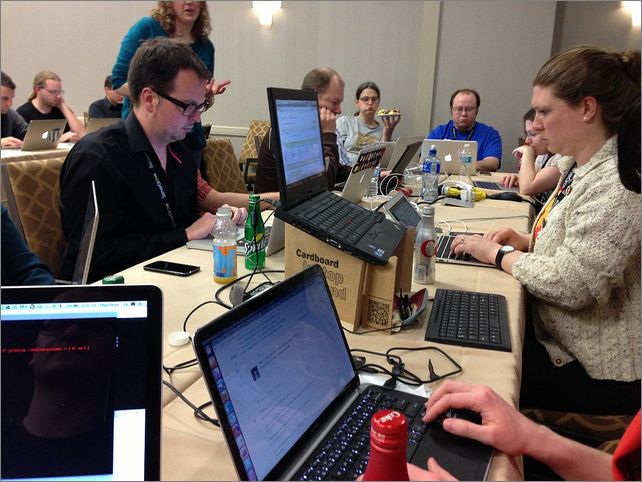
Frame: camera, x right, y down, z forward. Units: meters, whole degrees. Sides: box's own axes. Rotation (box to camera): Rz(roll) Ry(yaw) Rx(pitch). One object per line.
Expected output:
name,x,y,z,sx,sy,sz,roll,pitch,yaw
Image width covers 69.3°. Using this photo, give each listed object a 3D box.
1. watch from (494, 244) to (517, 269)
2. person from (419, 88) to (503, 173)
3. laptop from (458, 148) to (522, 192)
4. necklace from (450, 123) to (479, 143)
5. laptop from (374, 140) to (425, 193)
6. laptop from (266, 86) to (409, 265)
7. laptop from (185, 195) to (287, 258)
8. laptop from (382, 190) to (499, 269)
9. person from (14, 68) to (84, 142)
watch,0.673,0.049,1.707,0.088,0.096,0.054,-23,33,-23
person,1.414,-1.086,4.565,0.684,0.782,0.416,6,14,23
laptop,1.328,-0.480,3.585,0.327,0.341,0.502,-16,13,29
necklace,1.376,-1.027,4.372,0.206,0.316,0.104,7,30,27
laptop,0.513,-0.470,3.045,0.308,0.304,0.384,8,23,27
laptop,0.075,-0.248,1.435,0.338,0.450,0.441,5,14,13
laptop,-0.289,-0.037,1.888,0.382,0.281,0.449,8,-5,4
laptop,0.454,-0.048,1.824,0.297,0.154,0.312,13,25,24
person,-2.987,-1.480,5.177,0.650,0.740,0.544,9,22,-7
